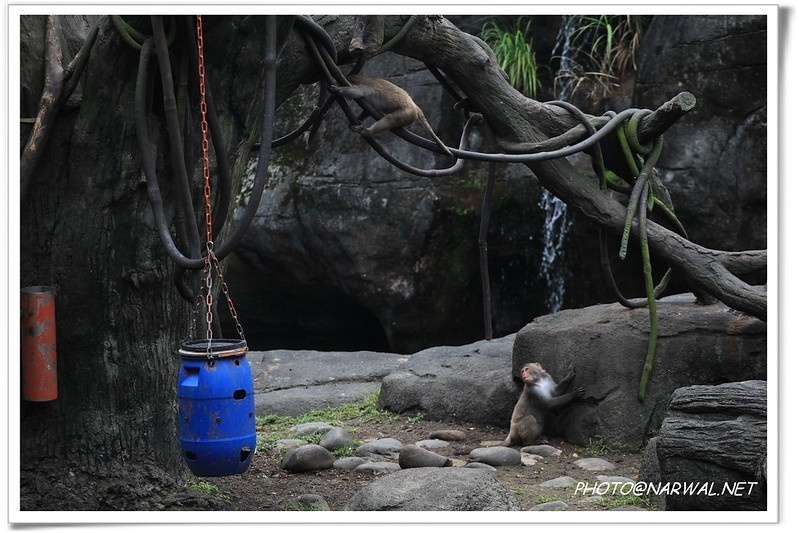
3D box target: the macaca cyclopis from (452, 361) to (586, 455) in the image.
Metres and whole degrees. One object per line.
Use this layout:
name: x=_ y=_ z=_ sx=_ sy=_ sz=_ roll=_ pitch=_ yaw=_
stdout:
macaca cyclopis: x=1.243 y=1.309 z=8.989 sx=1.040 sy=0.739 sz=0.428 roll=-9 pitch=-2 yaw=24

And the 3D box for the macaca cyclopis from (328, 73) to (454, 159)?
macaca cyclopis: x=-0.077 y=-1.362 z=8.286 sx=0.812 sy=0.663 sz=0.874 roll=-3 pitch=6 yaw=-3

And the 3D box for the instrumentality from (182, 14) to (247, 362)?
instrumentality: x=-1.378 y=-0.615 z=6.906 sx=0.379 sy=2.415 sz=1.318 roll=-4 pitch=7 yaw=-12
